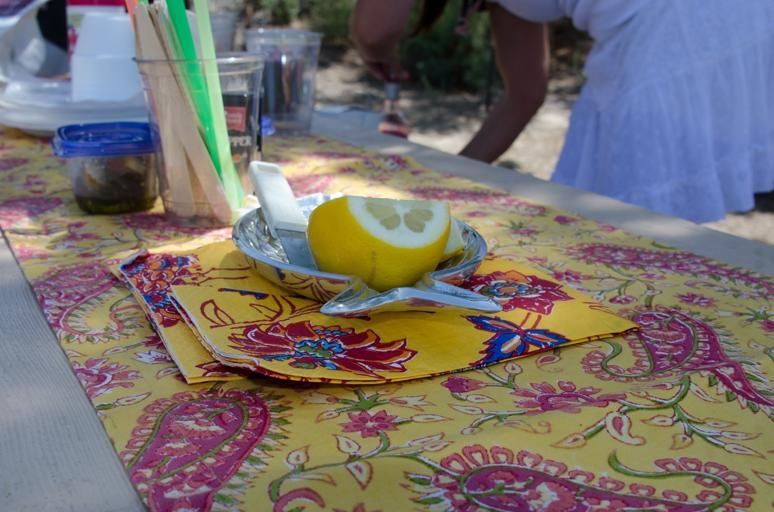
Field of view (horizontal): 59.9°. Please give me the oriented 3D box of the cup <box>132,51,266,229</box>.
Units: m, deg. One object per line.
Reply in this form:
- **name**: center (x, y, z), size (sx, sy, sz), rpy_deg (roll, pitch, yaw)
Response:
- **cup**: center (-0.285, -0.194, 1.106), size (0.310, 0.264, 0.257), rpy_deg (0, 22, -10)

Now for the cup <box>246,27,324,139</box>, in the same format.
- **cup**: center (-0.229, -0.448, 1.709), size (0.192, 0.242, 0.231), rpy_deg (-19, 27, -35)

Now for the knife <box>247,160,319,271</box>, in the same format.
- **knife**: center (-0.139, -0.057, 0.907), size (0.076, 0.030, 0.185), rpy_deg (-11, 58, -38)

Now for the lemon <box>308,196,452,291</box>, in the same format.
- **lemon**: center (-0.004, -0.024, 0.902), size (0.227, 0.103, 0.207), rpy_deg (-3, 10, -19)
